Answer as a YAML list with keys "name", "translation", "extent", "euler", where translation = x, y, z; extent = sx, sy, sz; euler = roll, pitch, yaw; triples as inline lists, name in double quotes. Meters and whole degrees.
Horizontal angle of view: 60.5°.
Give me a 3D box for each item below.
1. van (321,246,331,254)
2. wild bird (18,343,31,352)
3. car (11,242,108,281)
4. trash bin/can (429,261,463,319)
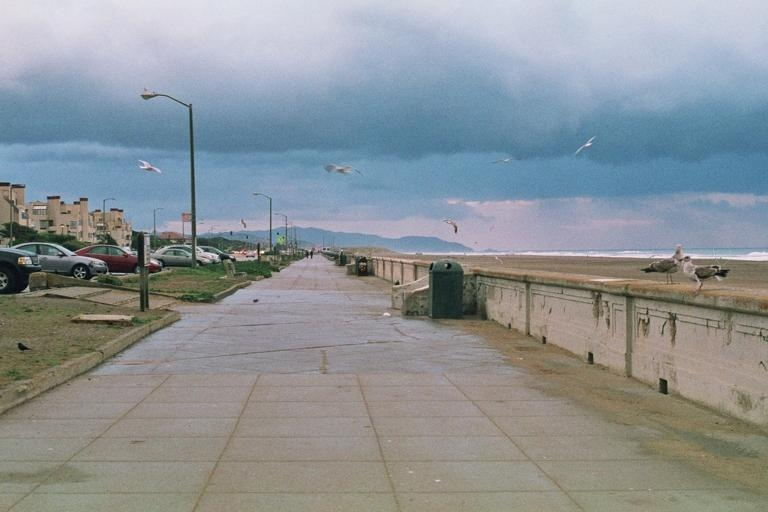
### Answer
- name: "van"
  translation: [-17.575, -1.799, 198.247]
  extent: [2.435, 2.527, 3.981]
  euler: [-2, 3, -8]
- name: "wild bird"
  translation: [-6.232, 1.553, 11.402]
  extent: [0.179, 0.165, 0.372]
  euler: [-4, 10, -26]
- name: "car"
  translation: [-12.771, 0.176, 26.311]
  extent: [4.652, 1.408, 1.777]
  euler: [0, 0, -13]
- name: "trash bin/can"
  translation: [1.743, 0.933, 18.204]
  extent: [1.080, 1.440, 0.933]
  euler: [1, 1, -5]
